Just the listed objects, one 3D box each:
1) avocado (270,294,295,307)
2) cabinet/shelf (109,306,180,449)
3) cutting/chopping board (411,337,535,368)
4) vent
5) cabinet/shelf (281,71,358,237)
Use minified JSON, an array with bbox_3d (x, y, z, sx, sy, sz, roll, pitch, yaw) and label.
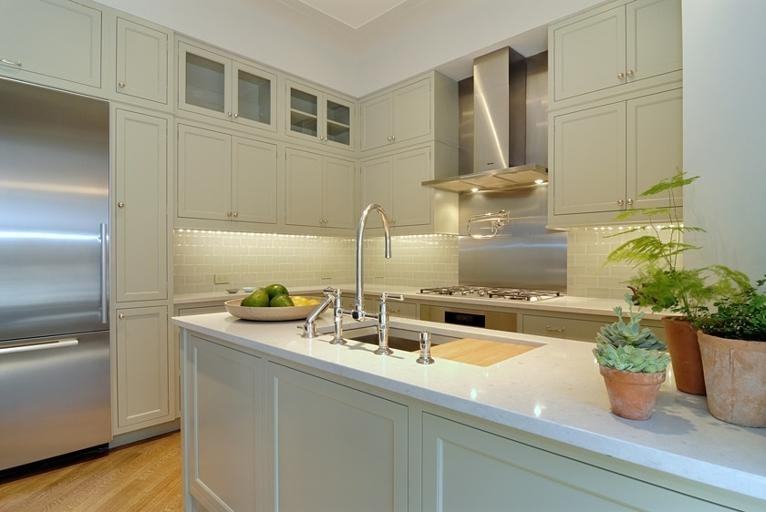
[{"bbox_3d":[-0.602,0.254,2.819,0.083,0.082,0.086,1,-1,20],"label":"avocado"},{"bbox_3d":[-1.924,0.879,3.847,0.513,0.958,0.226,-6,14,-29],"label":"cabinet/shelf"},{"bbox_3d":[0.475,0.451,2.372,0.424,0.066,0.442,9,14,40],"label":"cutting/chopping board"},{"bbox_3d":[0.991,-1.263,4.554,0.652,1.105,1.218,-6,8,-39],"label":"vent"},{"bbox_3d":[-0.682,-1.015,5.139,0.350,1.589,1.064,10,14,36],"label":"cabinet/shelf"}]
